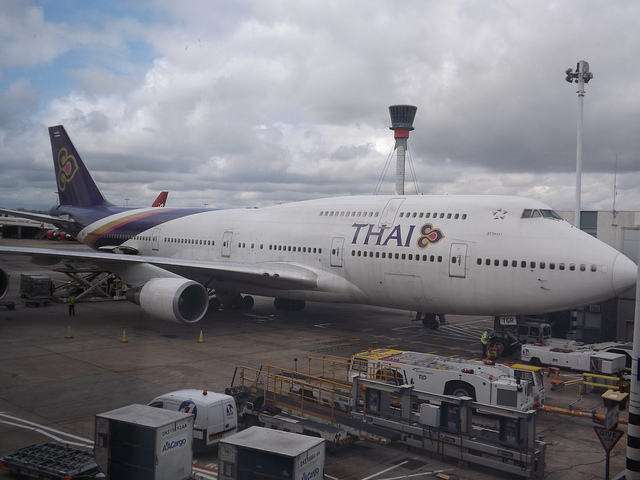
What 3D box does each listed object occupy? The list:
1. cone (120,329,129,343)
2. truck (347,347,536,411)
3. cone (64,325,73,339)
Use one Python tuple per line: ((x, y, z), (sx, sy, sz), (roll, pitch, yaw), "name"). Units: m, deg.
((-9.359, 4.631, 26.478), (0.468, 0.476, 0.438), (0, 1, 31), "cone")
((4.090, 4.485, 18.498), (4.433, 0.866, 2.165), (1, 1, 31), "truck")
((-12.221, 4.533, 26.979), (0.462, 0.434, 0.455), (1, 1, 40), "cone")
